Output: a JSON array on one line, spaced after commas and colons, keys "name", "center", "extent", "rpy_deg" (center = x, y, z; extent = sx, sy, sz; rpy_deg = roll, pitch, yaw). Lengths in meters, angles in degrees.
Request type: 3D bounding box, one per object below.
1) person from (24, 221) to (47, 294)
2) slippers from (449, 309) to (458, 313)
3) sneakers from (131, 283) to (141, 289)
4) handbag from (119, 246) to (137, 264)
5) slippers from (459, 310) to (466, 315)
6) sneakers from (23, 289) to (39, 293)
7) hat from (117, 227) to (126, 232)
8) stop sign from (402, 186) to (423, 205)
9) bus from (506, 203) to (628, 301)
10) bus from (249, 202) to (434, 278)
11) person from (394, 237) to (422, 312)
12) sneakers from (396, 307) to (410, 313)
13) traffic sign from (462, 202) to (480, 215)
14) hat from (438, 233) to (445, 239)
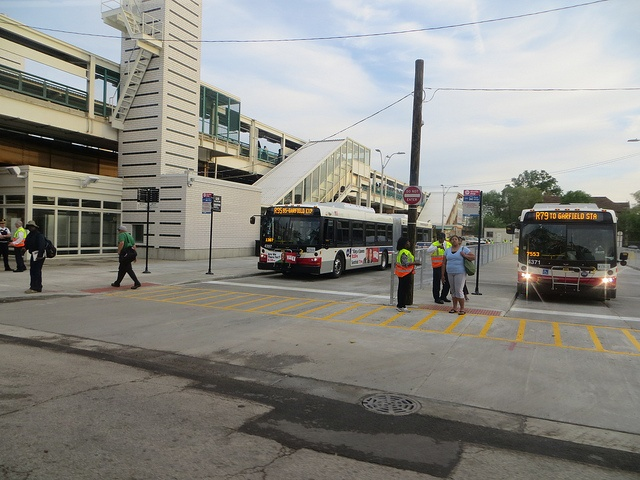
[{"name": "person", "center": [-8.244, 0.488, 15.331], "extent": [0.576, 2.030, 1.182], "rpy_deg": [-2, 8, -28]}, {"name": "slippers", "center": [3.456, 1.844, 13.568], "extent": [0.352, 0.091, 0.121], "rpy_deg": [-5, 2, 14]}, {"name": "sneakers", "center": [-5.786, 1.449, 16.578], "extent": [0.375, 0.231, 0.123], "rpy_deg": [3, 6, 20]}, {"name": "handbag", "center": [-6.004, 0.458, 16.483], "extent": [0.484, 0.507, 0.357], "rpy_deg": [-1, 8, -21]}, {"name": "slippers", "center": [3.637, 1.826, 13.321], "extent": [0.153, 0.118, 0.319], "rpy_deg": [4, 7, 18]}, {"name": "sneakers", "center": [-8.198, 1.463, 14.970], "extent": [0.118, 0.142, 0.345], "rpy_deg": [-5, -15, 26]}, {"name": "hat", "center": [-6.146, -0.325, 16.447], "extent": [0.200, 0.130, 0.267], "rpy_deg": [8, 11, -15]}, {"name": "stop sign", "center": [2.589, -1.201, 14.522], "extent": [0.471, 0.550, 0.927], "rpy_deg": [3, 7, 7]}, {"name": "bus", "center": [7.445, 0.271, 15.899], "extent": [1.828, 1.887, 4.620], "rpy_deg": [-3, -6, 29]}, {"name": "bus", "center": [1.415, 0.042, 24.585], "extent": [2.942, 2.688, 10.730], "rpy_deg": [-1, -3, 32]}, {"name": "person", "center": [2.202, 0.877, 13.641], "extent": [0.485, 1.869, 0.702], "rpy_deg": [3, 8, 8]}, {"name": "sneakers", "center": [2.162, 1.806, 13.528], "extent": [0.298, 0.121, 0.104], "rpy_deg": [0, 1, 12]}, {"name": "traffic sign", "center": [4.868, -1.003, 16.840], "extent": [0.494, 0.292, 0.487], "rpy_deg": [0, 2, 25]}, {"name": "hat", "center": [3.569, -0.118, 15.410], "extent": [0.173, 0.189, 0.212], "rpy_deg": [-7, -15, 27]}]
